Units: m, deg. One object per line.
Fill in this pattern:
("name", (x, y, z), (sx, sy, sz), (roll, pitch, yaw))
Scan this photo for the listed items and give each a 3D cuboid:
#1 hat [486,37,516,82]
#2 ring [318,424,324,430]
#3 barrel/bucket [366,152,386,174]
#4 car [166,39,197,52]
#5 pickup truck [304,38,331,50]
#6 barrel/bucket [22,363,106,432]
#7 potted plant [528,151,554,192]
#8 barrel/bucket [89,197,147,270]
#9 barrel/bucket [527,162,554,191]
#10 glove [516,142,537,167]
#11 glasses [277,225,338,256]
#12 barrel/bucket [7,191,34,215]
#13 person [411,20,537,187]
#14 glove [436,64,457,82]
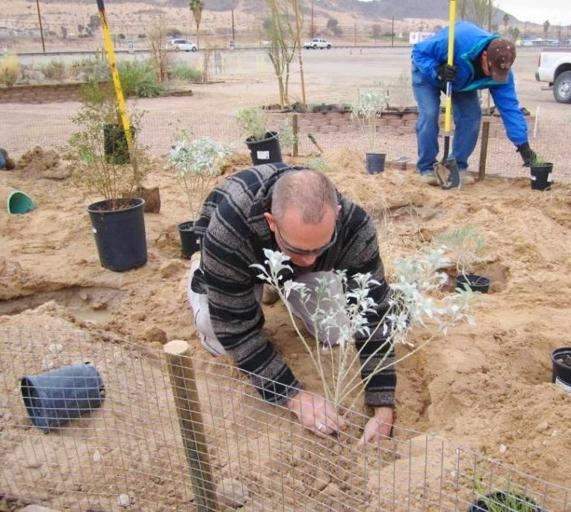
("hat", (2.160, -1.967, 5.919), (0.277, 0.425, 0.305), (3, 20, 16))
("ring", (0.190, 0.915, 3.128), (0.009, 0.030, 0.034), (11, -2, -2))
("barrel/bucket", (1.151, -1.192, 7.530), (0.300, 0.215, 0.262), (-6, 21, -9))
("car", (-7.074, -14.774, 41.324), (1.920, 0.978, 3.080), (-6, 18, -13))
("pickup truck", (2.843, -18.321, 50.834), (2.584, 0.877, 1.368), (-11, 20, -26))
("barrel/bucket", (-1.226, 0.800, 3.320), (0.436, 0.318, 0.379), (-11, 20, -25))
("potted plant", (2.870, -0.925, 6.442), (0.377, 0.377, 0.363), (-7, 18, 7))
("barrel/bucket", (-1.404, -0.218, 5.529), (0.600, 0.620, 0.637), (-1, 19, 0))
("barrel/bucket", (2.759, -0.868, 6.497), (0.303, 0.296, 0.306), (-10, 18, 3))
("glove", (2.626, -1.097, 6.407), (0.194, 0.254, 0.314), (4, 19, 19))
("glasses", (0.142, -0.075, 2.840), (0.327, 0.130, 0.160), (-9, 19, -21))
("barrel/bucket", (-3.019, -0.612, 6.755), (0.247, 0.249, 0.413), (-3, 18, -3))
("person", (2.031, -1.708, 6.568), (0.761, 1.745, 1.336), (-15, 22, -32))
("glove", (1.735, -1.976, 6.333), (0.164, 0.101, 0.207), (16, 29, -16))
